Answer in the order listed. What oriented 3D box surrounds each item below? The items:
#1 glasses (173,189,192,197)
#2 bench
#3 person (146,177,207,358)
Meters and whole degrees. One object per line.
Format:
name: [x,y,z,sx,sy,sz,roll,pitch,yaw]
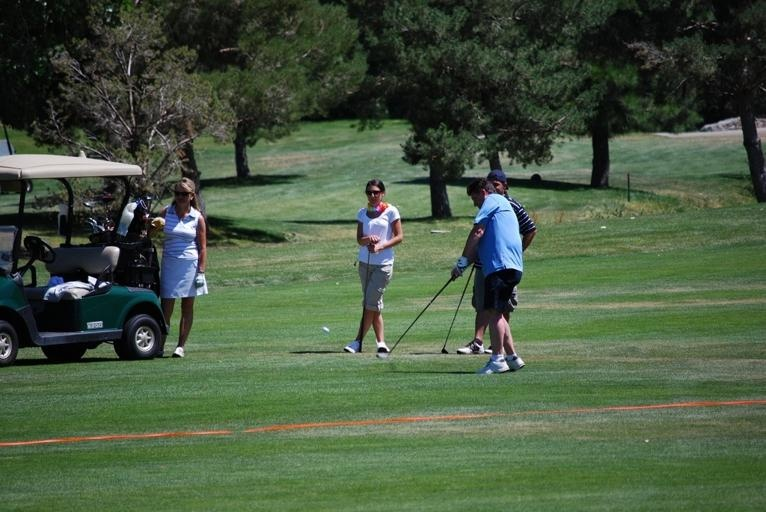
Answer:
glasses: [-4.101,-1.280,29.209,0.361,0.164,0.164,-1,11,11]
bench: [-6.127,0.263,29.075,1.614,0.992,1.175,0,0,34]
person: [-4.151,0.234,29.370,1.287,3.544,1.171,4,6,-5]
